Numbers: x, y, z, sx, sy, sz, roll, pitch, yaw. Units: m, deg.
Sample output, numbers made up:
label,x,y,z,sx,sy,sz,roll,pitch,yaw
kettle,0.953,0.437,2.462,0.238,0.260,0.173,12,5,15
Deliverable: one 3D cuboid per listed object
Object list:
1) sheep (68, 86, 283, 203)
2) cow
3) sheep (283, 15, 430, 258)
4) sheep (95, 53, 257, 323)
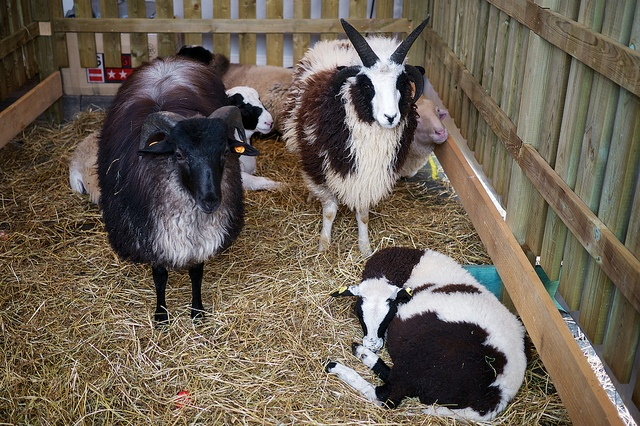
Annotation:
label,x,y,z,sx,sy,sz,roll,pitch,yaw
sheep,-1.802,-0.845,6.558,2.426,1.526,1.371,5,30,12
cow,0.997,1.087,4.812,1.582,0.737,1.379,20,32,28
sheep,0.297,-0.788,5.666,1.315,2.416,0.749,15,29,23
sheep,-1.365,-0.127,5.105,1.285,1.999,1.671,-9,29,-23
